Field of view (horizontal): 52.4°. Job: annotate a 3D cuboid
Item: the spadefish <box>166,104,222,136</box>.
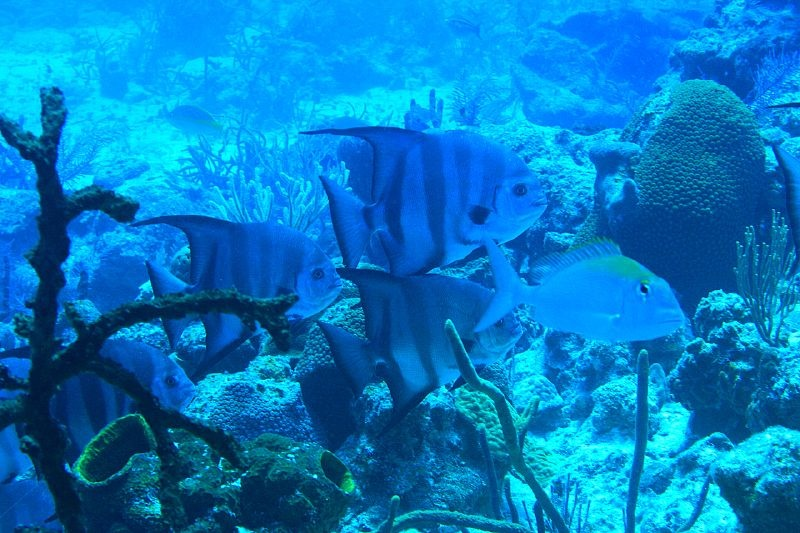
[{"bbox_3d":[-4.733,-3.411,18.734,1.448,0.601,0.421,4,5,27],"label":"spadefish"}]
